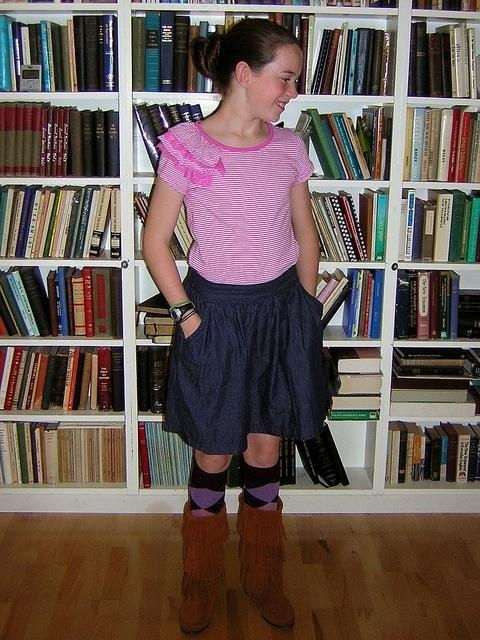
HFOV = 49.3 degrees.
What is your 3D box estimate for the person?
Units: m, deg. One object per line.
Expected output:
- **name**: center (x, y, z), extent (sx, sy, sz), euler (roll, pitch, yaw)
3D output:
- **person**: center (0.007, 0.100, 1.274), extent (0.397, 1.463, 0.404), euler (2, 5, 12)
